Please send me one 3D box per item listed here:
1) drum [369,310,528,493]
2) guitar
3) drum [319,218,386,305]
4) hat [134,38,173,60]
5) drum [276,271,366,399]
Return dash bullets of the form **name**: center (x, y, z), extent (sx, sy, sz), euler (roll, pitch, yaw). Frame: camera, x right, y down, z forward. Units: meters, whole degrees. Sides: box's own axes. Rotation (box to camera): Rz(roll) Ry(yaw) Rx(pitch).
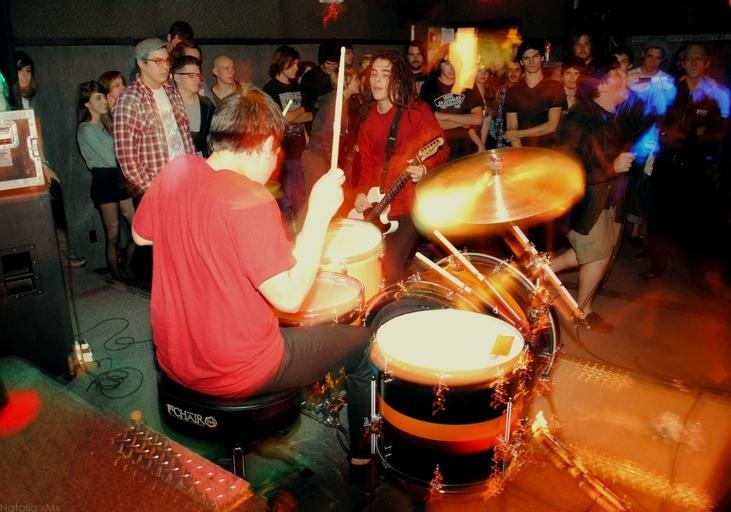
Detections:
- **drum**: center (0.478, 0.855, 3.077), extent (0.867, 0.795, 0.853), euler (3, 19, 14)
- **guitar**: center (0.270, -0.596, 4.372), extent (0.166, 1.057, 0.381), euler (-3, 53, -50)
- **drum**: center (-0.088, 0.081, 3.823), extent (0.546, 0.539, 0.548), euler (0, 33, 1)
- **hat**: center (-1.961, -1.903, 4.572), extent (0.310, 0.163, 0.219), euler (-23, 24, 6)
- **drum**: center (-0.145, 0.480, 3.368), extent (0.668, 0.683, 0.665), euler (8, 34, 9)
